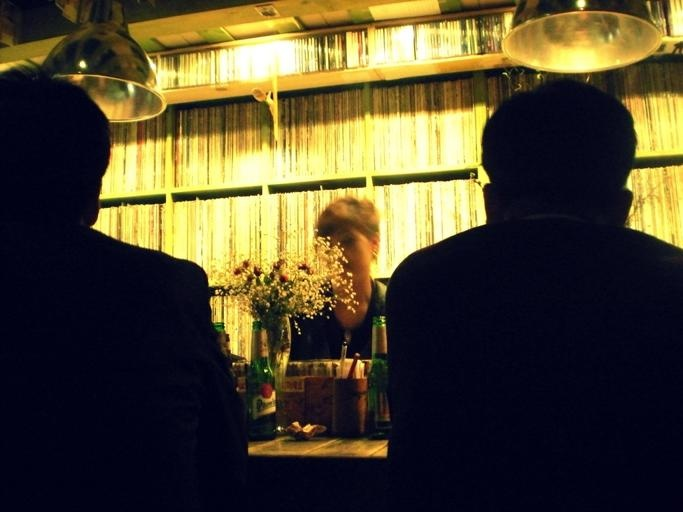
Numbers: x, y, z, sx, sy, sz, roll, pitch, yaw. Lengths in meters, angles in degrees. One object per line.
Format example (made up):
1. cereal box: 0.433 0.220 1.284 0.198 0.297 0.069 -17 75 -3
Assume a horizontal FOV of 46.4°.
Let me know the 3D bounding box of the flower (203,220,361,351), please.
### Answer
1. flower: -0.228 0.160 2.713 0.442 0.325 0.392 6 -11 -39

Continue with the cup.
1. cup: -0.012 0.443 2.410 0.170 0.135 0.166 2 -9 0
